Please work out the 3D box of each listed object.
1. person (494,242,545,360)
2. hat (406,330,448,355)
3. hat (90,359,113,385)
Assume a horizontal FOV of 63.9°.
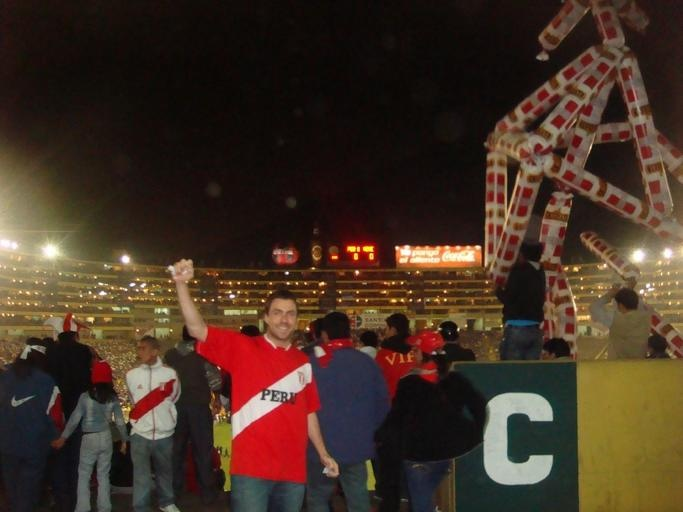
[{"bbox_3d":[2.962,0.702,8.948,0.995,1.605,0.579,-2,-3,-45],"label":"person"},{"bbox_3d":[1.022,1.044,6.721,0.345,0.202,0.254,10,16,37],"label":"hat"},{"bbox_3d":[-3.672,1.757,8.357,0.288,0.332,0.424,-3,-3,-26],"label":"hat"}]
